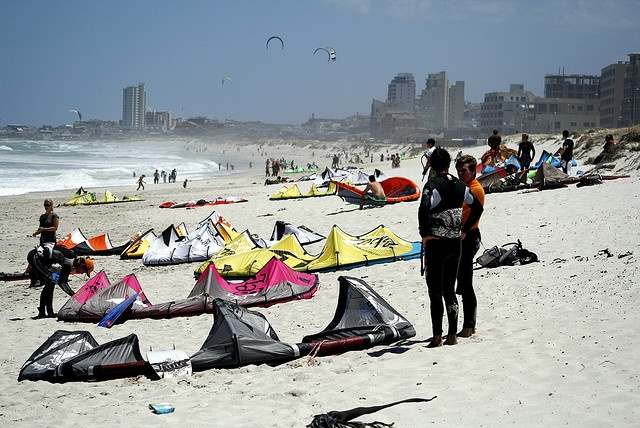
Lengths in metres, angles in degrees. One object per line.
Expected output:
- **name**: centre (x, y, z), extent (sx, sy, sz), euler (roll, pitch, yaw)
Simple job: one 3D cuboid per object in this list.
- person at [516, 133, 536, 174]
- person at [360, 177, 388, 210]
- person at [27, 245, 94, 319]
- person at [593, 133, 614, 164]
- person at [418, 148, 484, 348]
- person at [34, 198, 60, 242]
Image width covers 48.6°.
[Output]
- **person**: centre (6.431, -1.946, 22.320), extent (0.504, 1.119, 1.546), euler (2, 7, 15)
- **person**: centre (1.665, -0.730, 23.253), extent (1.248, 1.039, 0.744), euler (-6, 9, -42)
- **person**: centre (-5.428, 1.352, 14.822), extent (1.095, 1.498, 0.459), euler (-4, 8, -29)
- **person**: centre (10.361, -2.366, 26.038), extent (0.662, 1.066, 1.089), euler (3, 8, 22)
- **person**: centre (2.001, 0.564, 11.352), extent (0.946, 3.200, 0.370), euler (-4, 8, -29)
- **person**: centre (-6.313, 0.225, 16.431), extent (0.496, 1.181, 2.297), euler (-2, 8, -21)
